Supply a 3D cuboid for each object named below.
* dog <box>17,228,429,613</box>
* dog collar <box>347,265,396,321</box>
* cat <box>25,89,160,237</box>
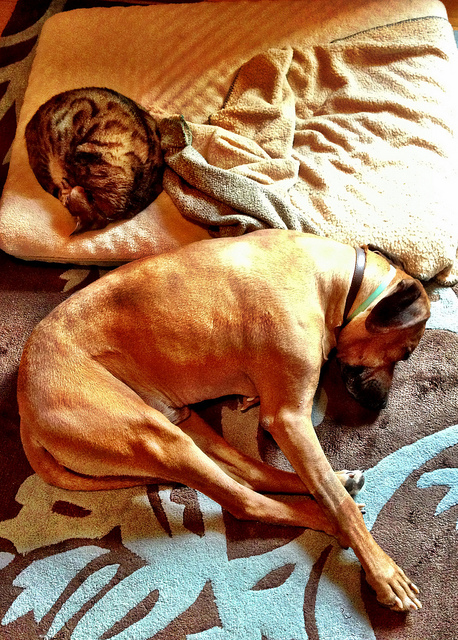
[{"bbox_3d":[-0.007,0.158,1.789,1.201,0.577,0.795,-7,24,-1],"label":"dog"},{"bbox_3d":[0.399,-0.076,1.863,0.034,0.127,0.134,49,60,-12],"label":"dog collar"},{"bbox_3d":[-0.411,-0.478,2.173,0.487,0.173,0.429,-6,98,5],"label":"cat"}]
